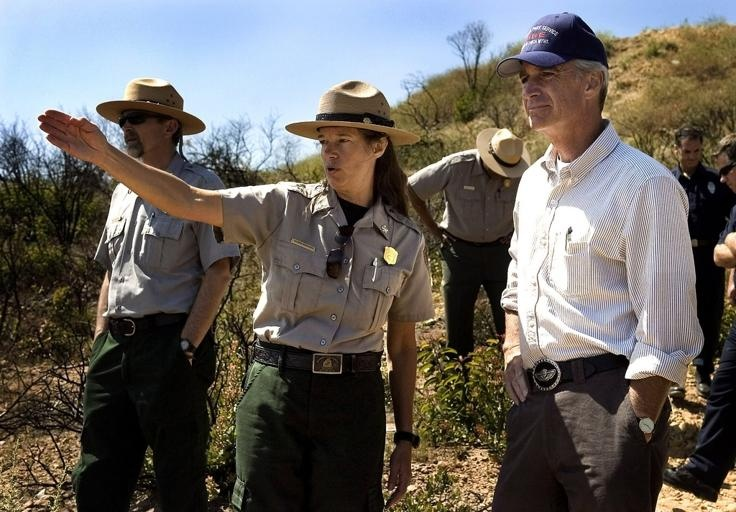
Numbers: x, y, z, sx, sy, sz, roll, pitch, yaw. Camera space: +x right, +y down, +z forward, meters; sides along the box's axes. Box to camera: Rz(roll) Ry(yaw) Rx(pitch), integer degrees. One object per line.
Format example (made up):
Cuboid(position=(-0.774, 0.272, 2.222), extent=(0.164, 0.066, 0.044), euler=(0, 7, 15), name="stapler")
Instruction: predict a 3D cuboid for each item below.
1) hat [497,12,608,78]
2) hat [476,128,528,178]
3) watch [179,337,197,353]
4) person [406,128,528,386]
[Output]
Cuboid(position=(1.122, -1.270, 4.622), extent=(0.647, 0.411, 0.461), euler=(-1, 5, -24), name="hat")
Cuboid(position=(1.331, -1.067, 7.588), extent=(0.493, 0.582, 0.198), euler=(-6, -20, -35), name="hat")
Cuboid(position=(-1.228, 0.621, 5.166), extent=(0.101, 0.071, 0.097), euler=(-16, 8, -15), name="watch")
Cuboid(position=(1.049, 0.026, 7.904), extent=(1.179, 2.855, 1.066), euler=(-3, 29, 4), name="person")
